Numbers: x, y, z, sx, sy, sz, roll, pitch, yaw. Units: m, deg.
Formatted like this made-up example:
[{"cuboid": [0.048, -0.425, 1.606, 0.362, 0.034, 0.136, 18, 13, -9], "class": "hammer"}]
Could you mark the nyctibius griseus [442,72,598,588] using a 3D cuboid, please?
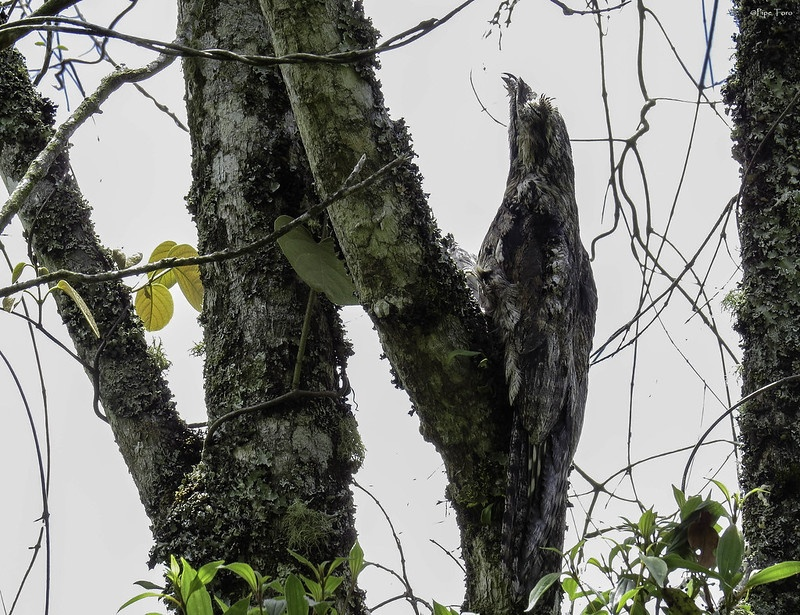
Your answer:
[{"cuboid": [0.568, 0.004, 5.967, 0.483, 2.321, 0.682, -10, -45, 9], "class": "nyctibius griseus"}]
